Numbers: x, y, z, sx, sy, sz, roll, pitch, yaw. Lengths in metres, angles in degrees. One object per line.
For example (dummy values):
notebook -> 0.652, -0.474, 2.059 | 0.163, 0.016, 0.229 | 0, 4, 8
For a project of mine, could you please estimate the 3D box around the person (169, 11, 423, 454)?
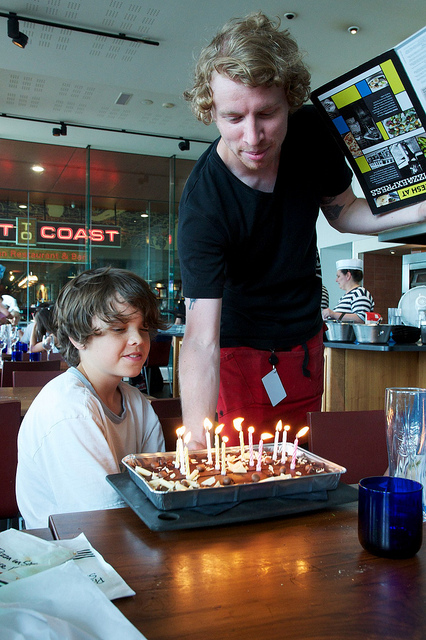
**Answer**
person -> 0.182, -0.187, 1.341 | 0.571, 1.050, 0.800 | 5, -5, -6

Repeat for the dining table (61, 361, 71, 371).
dining table -> -1.108, 0.320, 3.613 | 0.031, 0.065, 1.600 | 6, -5, -17

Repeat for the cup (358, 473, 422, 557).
cup -> 0.199, 0.231, 0.606 | 0.085, 0.094, 0.092 | 0, -4, 0

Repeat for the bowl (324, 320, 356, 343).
bowl -> 0.829, 0.078, 3.148 | 0.171, 0.106, 0.169 | 3, -4, 0

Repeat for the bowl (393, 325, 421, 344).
bowl -> 1.140, 0.089, 2.826 | 0.113, 0.081, 0.115 | 1, -3, 0

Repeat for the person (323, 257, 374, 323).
person -> 1.307, -0.250, 4.789 | 0.396, 0.684, 0.730 | 1, -2, -2

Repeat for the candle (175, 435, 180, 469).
candle -> -0.060, 0.225, 0.814 | 0.006, 0.041, 0.025 | 6, -5, -15

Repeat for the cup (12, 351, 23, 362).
cup -> -1.474, 0.271, 3.636 | 0.077, 0.088, 0.078 | 0, -7, 0
